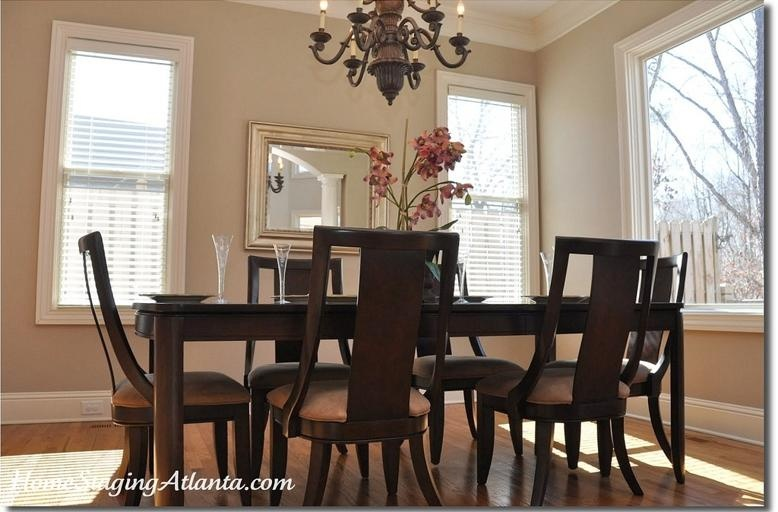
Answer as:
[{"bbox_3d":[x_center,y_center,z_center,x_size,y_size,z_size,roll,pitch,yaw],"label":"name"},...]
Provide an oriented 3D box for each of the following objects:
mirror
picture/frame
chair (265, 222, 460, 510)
[{"bbox_3d":[-0.698,-0.621,5.358,0.975,0.933,0.076,2,-5,-17],"label":"mirror"},{"bbox_3d":[-0.687,-0.573,5.013,1.281,1.139,0.092,3,-6,-20],"label":"picture/frame"},{"bbox_3d":[-0.155,0.610,3.071,0.923,1.501,0.482,0,2,-13],"label":"chair"}]
